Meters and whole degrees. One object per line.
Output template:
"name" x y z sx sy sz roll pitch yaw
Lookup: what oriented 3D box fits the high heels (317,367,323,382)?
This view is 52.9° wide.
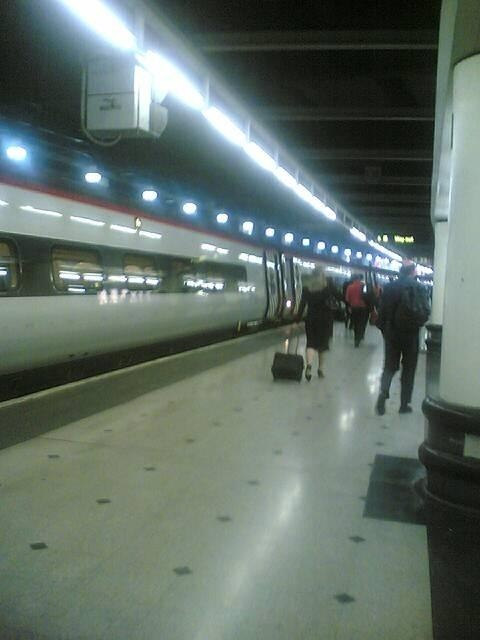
"high heels" 1.473 0.996 8.964 0.096 0.302 0.051 12 -16 -43

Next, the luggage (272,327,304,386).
"luggage" 1.030 0.724 8.776 0.520 1.191 0.953 2 0 9

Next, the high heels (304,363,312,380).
"high heels" 1.206 0.926 8.547 0.086 0.353 0.137 0 -7 8
